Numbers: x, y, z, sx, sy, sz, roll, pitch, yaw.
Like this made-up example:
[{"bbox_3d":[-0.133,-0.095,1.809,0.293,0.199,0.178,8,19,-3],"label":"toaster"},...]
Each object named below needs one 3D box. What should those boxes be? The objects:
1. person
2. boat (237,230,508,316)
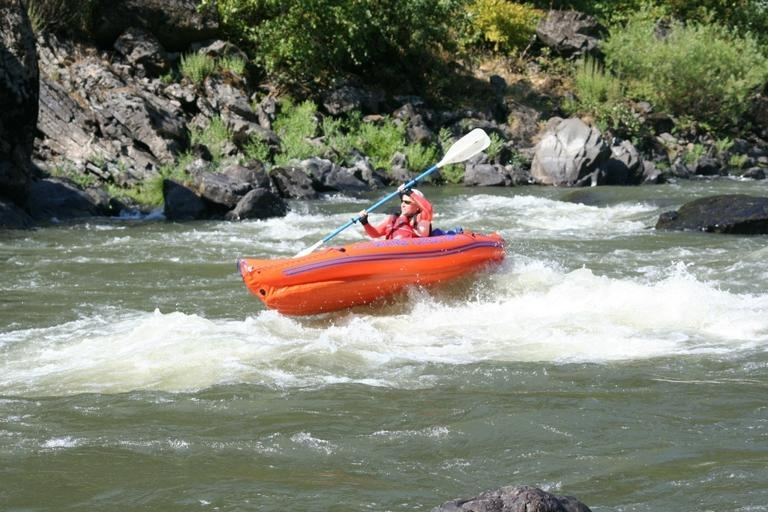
[{"bbox_3d":[0.400,-0.882,29.154,1.157,0.568,1.456,-9,-11,24],"label":"person"},{"bbox_3d":[-0.162,0.238,28.744,5.679,1.103,1.785,-8,17,-12],"label":"boat"}]
